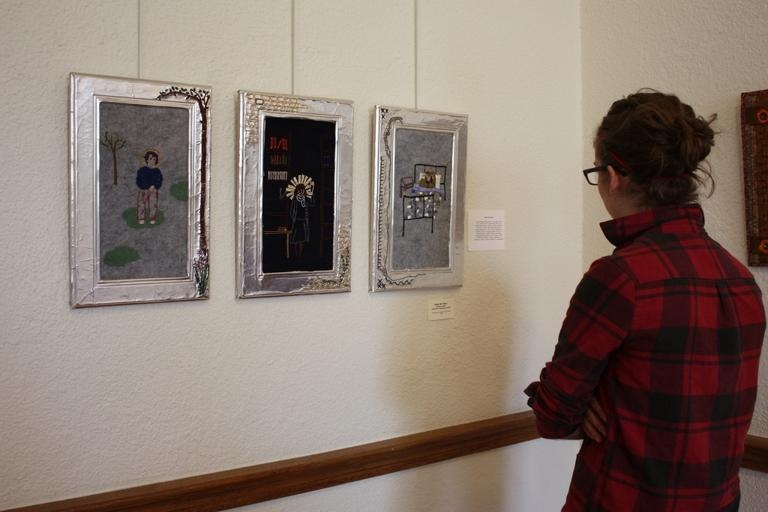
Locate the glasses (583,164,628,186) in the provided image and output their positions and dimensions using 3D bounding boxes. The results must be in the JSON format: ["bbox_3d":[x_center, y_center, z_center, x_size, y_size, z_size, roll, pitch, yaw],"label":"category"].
[{"bbox_3d":[0.848,-0.316,2.352,0.194,0.061,0.192,-6,11,-16],"label":"glasses"}]

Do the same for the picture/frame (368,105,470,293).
[{"bbox_3d":[0.167,-0.263,2.811,0.455,0.597,0.072,-1,1,-22],"label":"picture/frame"}]
